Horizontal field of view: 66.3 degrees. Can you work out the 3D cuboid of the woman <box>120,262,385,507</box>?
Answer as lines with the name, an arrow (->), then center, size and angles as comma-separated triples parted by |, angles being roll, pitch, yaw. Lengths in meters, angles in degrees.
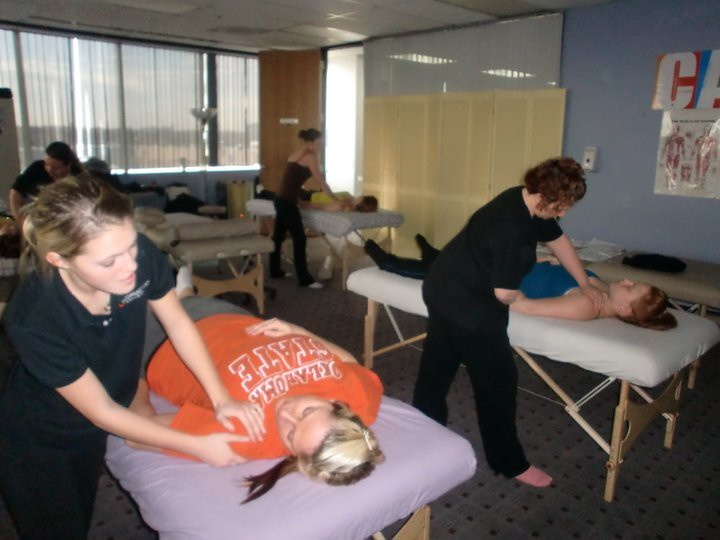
woman -> -0.374, 0.376, 1.986 | 0.508, 0.365, 0.944 | -15, 30, -36

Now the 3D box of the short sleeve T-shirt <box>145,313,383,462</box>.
short sleeve T-shirt -> -0.416, 0.286, 2.070 | 0.464, 0.229, 0.752 | -19, 30, -36

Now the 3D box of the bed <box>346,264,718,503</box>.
bed -> 0.881, 0.377, 3.156 | 1.776, 0.762, 1.086 | 14, 20, 41

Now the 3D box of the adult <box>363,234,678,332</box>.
adult -> 0.798, 0.127, 3.157 | 0.674, 0.314, 1.798 | -18, 18, -42

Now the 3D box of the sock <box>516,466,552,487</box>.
sock -> 0.813, 0.936, 2.554 | 0.173, 0.069, 0.083 | -4, 18, 35

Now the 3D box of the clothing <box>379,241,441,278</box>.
clothing -> 0.320, -0.073, 3.424 | 0.352, 0.136, 0.367 | -26, -23, 38

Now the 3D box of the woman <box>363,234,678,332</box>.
woman -> 0.790, 0.129, 3.149 | 0.674, 0.314, 1.798 | -18, 18, -42

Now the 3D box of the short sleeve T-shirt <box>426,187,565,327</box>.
short sleeve T-shirt -> 0.509, -0.052, 2.372 | 0.475, 0.575, 0.292 | 10, 23, 35

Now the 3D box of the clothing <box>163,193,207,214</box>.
clothing -> -2.176, -0.807, 6.736 | 0.378, 0.208, 0.481 | -4, 13, -24

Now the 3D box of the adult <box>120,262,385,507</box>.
adult -> -0.366, 0.380, 2.008 | 0.508, 0.365, 0.944 | -15, 30, -36

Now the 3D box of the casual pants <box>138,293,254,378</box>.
casual pants -> -0.797, 0.268, 2.562 | 0.316, 0.119, 0.448 | -28, 28, -32

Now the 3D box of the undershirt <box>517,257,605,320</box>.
undershirt -> 1.049, 0.083, 3.056 | 0.200, 0.320, 0.645 | -26, -5, -20

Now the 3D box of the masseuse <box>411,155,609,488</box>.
masseuse -> 0.710, 0.216, 2.522 | 0.790, 1.465, 0.644 | 8, 20, 21

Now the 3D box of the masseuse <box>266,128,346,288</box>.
masseuse -> -0.561, -0.619, 5.335 | 0.546, 1.438, 0.624 | -12, 26, -36

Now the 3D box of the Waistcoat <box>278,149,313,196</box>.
Waistcoat -> -0.625, -0.843, 5.166 | 0.204, 0.351, 0.308 | 11, 23, 36
